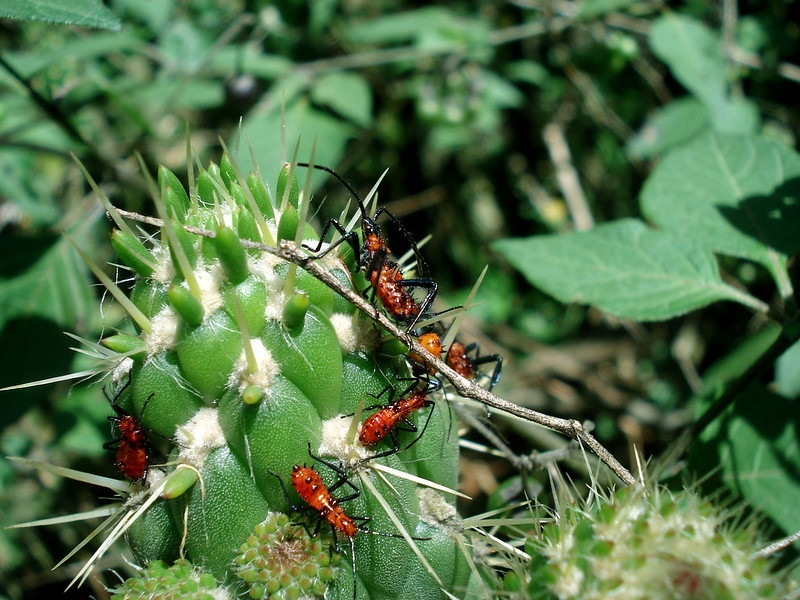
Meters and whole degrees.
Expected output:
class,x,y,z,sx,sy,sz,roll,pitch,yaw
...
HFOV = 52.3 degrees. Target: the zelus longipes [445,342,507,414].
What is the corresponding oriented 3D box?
class,x,y,z,sx,sy,sz,roll,pitch,yaw
zelus longipes,0.289,0.283,3.465,0.096,0.257,0.282,-52,46,3
